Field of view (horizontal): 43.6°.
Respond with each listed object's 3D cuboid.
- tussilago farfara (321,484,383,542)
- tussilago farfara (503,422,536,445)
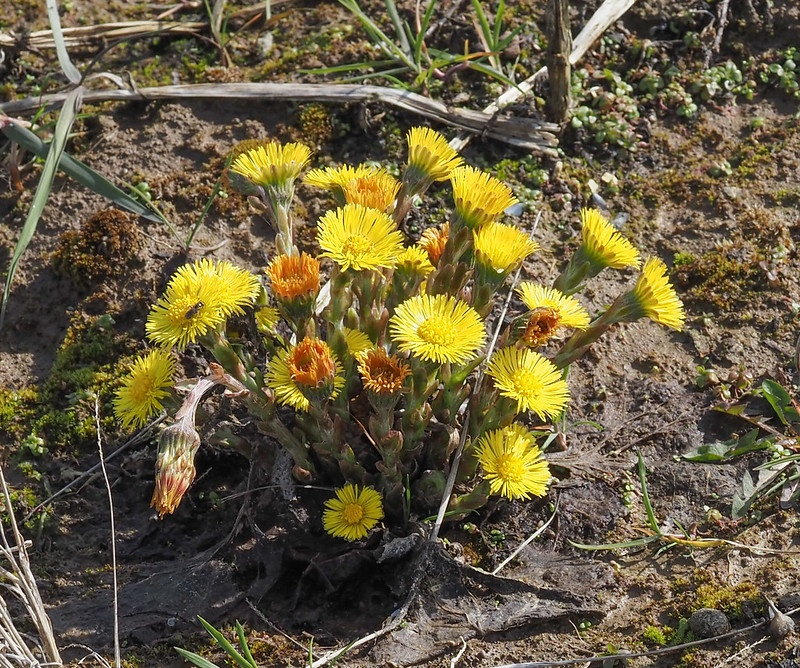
[{"bbox_3d":[-0.144,0.621,3.490,0.201,0.084,0.197,-46,67,-3],"label":"tussilago farfara"},{"bbox_3d":[0.401,0.344,3.378,0.085,0.033,0.084,28,20,-12],"label":"tussilago farfara"}]
